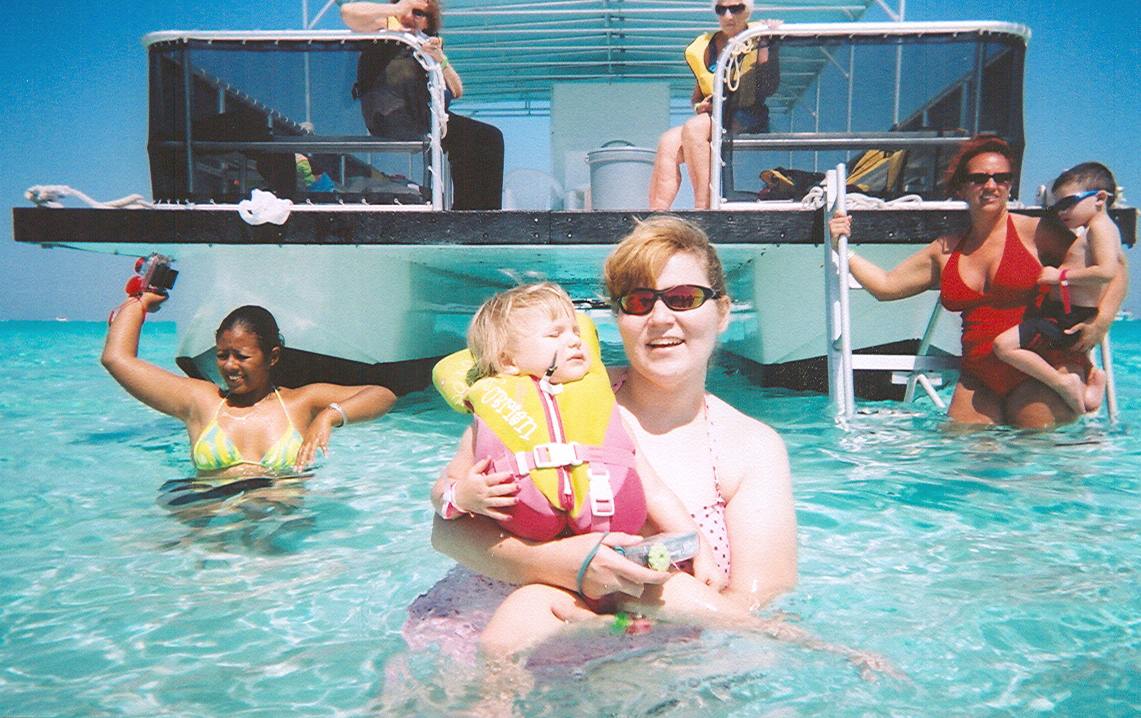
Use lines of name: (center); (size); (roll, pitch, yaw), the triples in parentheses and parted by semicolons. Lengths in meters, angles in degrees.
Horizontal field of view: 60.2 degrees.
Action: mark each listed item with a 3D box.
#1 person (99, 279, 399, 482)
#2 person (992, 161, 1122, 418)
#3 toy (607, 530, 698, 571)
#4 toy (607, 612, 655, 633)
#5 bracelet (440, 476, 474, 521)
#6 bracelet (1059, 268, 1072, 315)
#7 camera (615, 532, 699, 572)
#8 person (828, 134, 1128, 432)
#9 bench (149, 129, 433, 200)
person: (-2.200, 0.147, 6.987); (1.568, 1.719, 0.500); (-5, -39, -22)
person: (3.381, -0.375, 6.800); (0.799, 1.550, 0.449); (3, 8, 14)
toy: (0.350, 0.885, 4.556); (0.488, 0.149, 0.147); (-2, -3, -9)
toy: (0.286, 1.240, 4.616); (0.184, 0.077, 0.045); (1, 8, 0)
bracelet: (-0.518, 0.677, 4.691); (0.146, 0.165, 0.179); (1, -13, -2)
bracelet: (3.360, -0.454, 6.685); (0.093, 0.288, 0.071); (4, 9, 24)
camera: (0.437, 0.890, 4.556); (0.475, 0.143, 0.146); (-3, -6, -7)
person: (2.869, -0.553, 7.020); (1.196, 2.862, 1.633); (17, -24, -39)
bench: (-2.184, -1.420, 7.386); (1.388, 0.292, 1.199); (-1, 2, -5)
